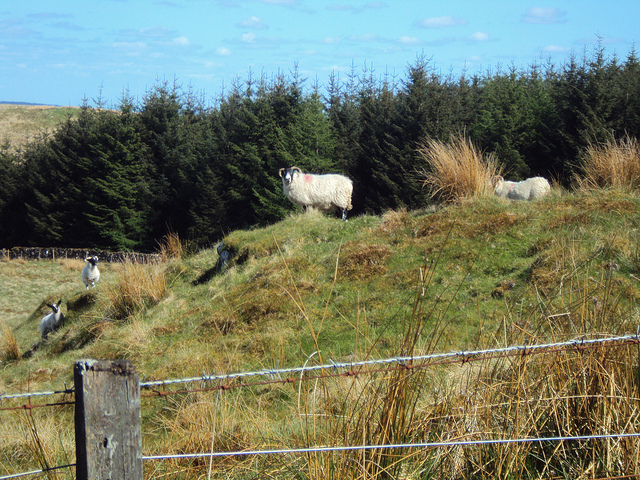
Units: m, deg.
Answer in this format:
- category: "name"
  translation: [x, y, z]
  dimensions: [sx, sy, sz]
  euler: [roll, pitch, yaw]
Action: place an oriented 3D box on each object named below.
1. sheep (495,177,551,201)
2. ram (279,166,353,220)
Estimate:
- category: "sheep"
  translation: [5.661, -1.433, 28.048]
  dimensions: [1.485, 0.537, 0.685]
  euler: [1, 9, 13]
- category: "ram"
  translation: [-0.146, -1.380, 30.533]
  dimensions: [2.217, 1.813, 0.952]
  euler: [-1, 7, -7]
